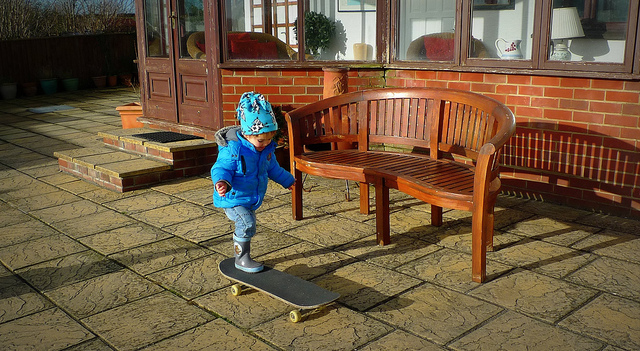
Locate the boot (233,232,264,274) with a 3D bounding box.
[{"bbox_3d":[-0.763,0.861,4.573,0.423,0.355,0.210,3,4,33],"label":"boot"}]

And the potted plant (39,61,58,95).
[{"bbox_3d":[-10.428,-3.697,16.259,0.467,0.952,0.565,4,20,14],"label":"potted plant"}]

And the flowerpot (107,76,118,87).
[{"bbox_3d":[-8.779,-4.057,17.895,0.463,0.297,0.424,-5,16,-21],"label":"flowerpot"}]

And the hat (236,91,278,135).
[{"bbox_3d":[-0.689,-0.712,4.606,0.433,0.420,0.550,-18,21,-35],"label":"hat"}]

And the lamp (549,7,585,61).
[{"bbox_3d":[3.482,-2.027,5.952,0.430,0.715,0.223,7,22,23],"label":"lamp"}]

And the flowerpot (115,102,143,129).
[{"bbox_3d":[-4.412,-1.412,9.818,0.719,0.653,0.601,-4,7,-23],"label":"flowerpot"}]

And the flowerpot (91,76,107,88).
[{"bbox_3d":[-9.107,-3.940,17.569,0.532,0.341,0.483,1,21,3],"label":"flowerpot"}]

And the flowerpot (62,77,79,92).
[{"bbox_3d":[-9.827,-3.638,16.733,0.571,0.395,0.569,9,18,34],"label":"flowerpot"}]

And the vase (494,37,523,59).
[{"bbox_3d":[2.901,-1.951,6.441,0.425,0.327,0.289,6,22,36],"label":"vase"}]

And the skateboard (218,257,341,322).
[{"bbox_3d":[-0.502,1.025,4.368,1.525,0.226,0.461,15,22,35],"label":"skateboard"}]

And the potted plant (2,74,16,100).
[{"bbox_3d":[-11.233,-3.235,15.338,0.374,0.765,0.412,-3,20,-5],"label":"potted plant"}]

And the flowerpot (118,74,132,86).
[{"bbox_3d":[-8.242,-4.116,17.959,0.541,0.453,0.950,-11,21,-26],"label":"flowerpot"}]

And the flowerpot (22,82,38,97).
[{"bbox_3d":[-10.900,-3.311,15.901,0.600,0.483,0.546,0,9,-2],"label":"flowerpot"}]

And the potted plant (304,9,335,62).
[{"bbox_3d":[-0.135,-2.580,7.832,0.754,0.767,0.608,-13,25,-41],"label":"potted plant"}]

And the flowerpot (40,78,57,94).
[{"bbox_3d":[-10.391,-3.490,16.161,0.625,0.431,0.581,-6,12,-30],"label":"flowerpot"}]

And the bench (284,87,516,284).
[{"bbox_3d":[1.119,-0.116,5.560,1.587,1.789,3.366,-15,20,-33],"label":"bench"}]
